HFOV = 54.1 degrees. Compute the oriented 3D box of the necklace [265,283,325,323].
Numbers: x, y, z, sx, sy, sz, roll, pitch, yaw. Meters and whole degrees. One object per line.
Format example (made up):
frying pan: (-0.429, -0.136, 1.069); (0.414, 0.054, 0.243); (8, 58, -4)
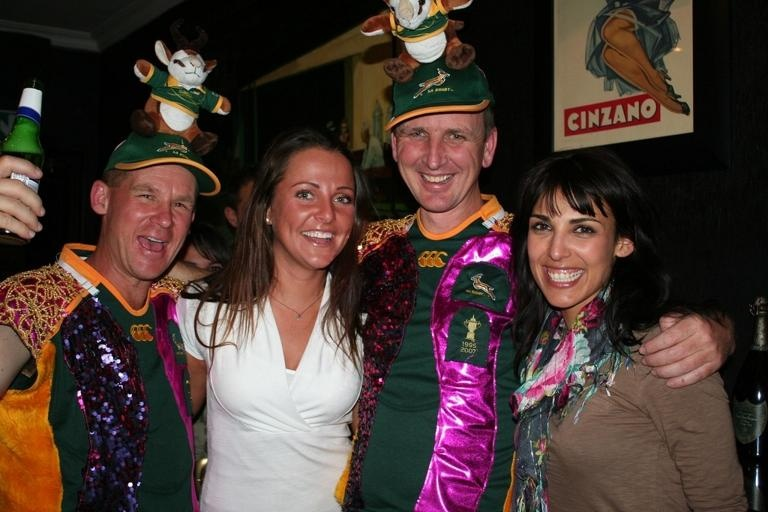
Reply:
necklace: (-0.452, 0.243, 3.897); (0.185, 0.186, 0.231); (7, 1, -9)
